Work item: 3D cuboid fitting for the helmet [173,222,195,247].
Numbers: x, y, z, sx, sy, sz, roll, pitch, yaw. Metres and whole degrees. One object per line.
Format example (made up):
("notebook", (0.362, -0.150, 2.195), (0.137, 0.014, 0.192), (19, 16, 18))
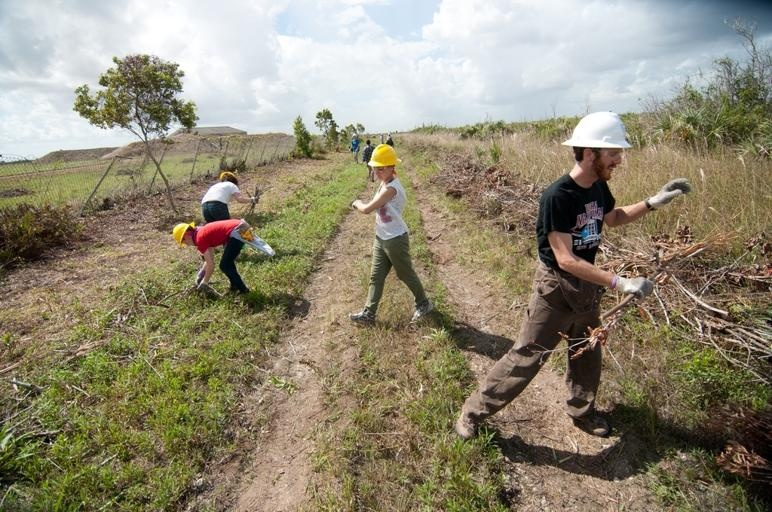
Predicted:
("helmet", (-3.521, -0.379, 7.706), (0.323, 0.337, 0.252), (-18, 21, -23))

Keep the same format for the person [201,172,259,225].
("person", (-3.536, -1.251, 9.744), (0.921, 1.056, 2.527), (-13, 20, -11))

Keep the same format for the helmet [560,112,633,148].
("helmet", (2.525, -1.492, 5.335), (0.647, 0.467, 0.467), (-2, 21, 19))

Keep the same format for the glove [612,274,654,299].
("glove", (2.886, 0.349, 5.265), (0.281, 0.135, 0.374), (6, -1, -10))

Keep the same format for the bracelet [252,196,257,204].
("bracelet", (-3.068, -1.283, 10.265), (0.059, 0.189, 0.133), (13, 7, -42))

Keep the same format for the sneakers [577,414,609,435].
("sneakers", (2.808, 2.303, 6.069), (0.396, 0.169, 0.224), (4, 34, 31))

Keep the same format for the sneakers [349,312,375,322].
("sneakers", (-0.420, 1.045, 7.609), (0.418, 0.191, 0.170), (6, 5, 5))

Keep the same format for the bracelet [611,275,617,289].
("bracelet", (2.676, 0.311, 5.225), (0.042, 0.123, 0.096), (7, 0, 18))

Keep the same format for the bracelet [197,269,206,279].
("bracelet", (-3.392, 0.323, 8.098), (0.096, 0.269, 0.114), (23, 37, -12))

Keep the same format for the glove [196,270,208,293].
("glove", (-3.359, 0.466, 8.012), (0.128, 0.377, 0.266), (1, 8, -13))

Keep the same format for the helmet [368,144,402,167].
("helmet", (-0.009, -1.517, 6.921), (0.341, 0.271, 0.480), (19, 31, 39))
